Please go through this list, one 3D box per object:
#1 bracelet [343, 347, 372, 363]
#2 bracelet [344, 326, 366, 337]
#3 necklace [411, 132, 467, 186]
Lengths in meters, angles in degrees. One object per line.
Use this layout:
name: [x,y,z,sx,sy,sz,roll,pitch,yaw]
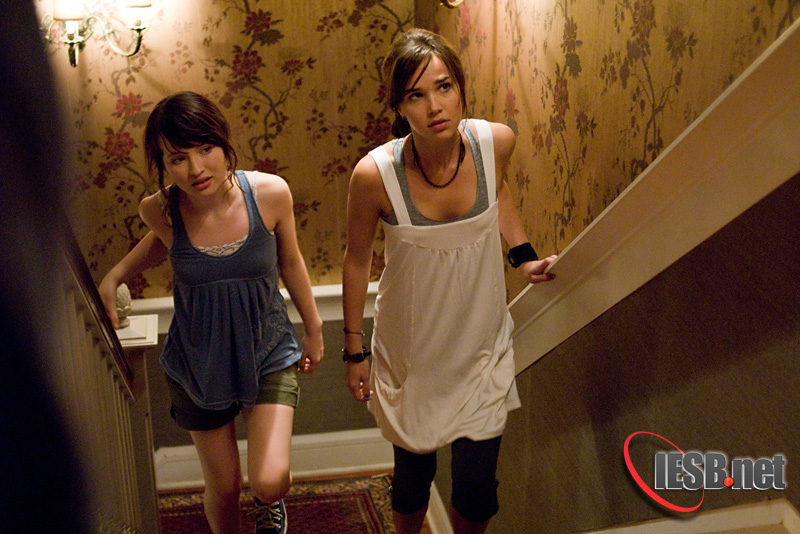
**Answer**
bracelet: [-0.146,0.319,2.161,0.057,0.032,0.081,1,11,40]
bracelet: [-0.162,0.231,2.120,0.054,0.021,0.045,10,-5,-19]
necklace: [0.113,-0.339,1.888,0.183,0.142,0.116,6,32,-1]
